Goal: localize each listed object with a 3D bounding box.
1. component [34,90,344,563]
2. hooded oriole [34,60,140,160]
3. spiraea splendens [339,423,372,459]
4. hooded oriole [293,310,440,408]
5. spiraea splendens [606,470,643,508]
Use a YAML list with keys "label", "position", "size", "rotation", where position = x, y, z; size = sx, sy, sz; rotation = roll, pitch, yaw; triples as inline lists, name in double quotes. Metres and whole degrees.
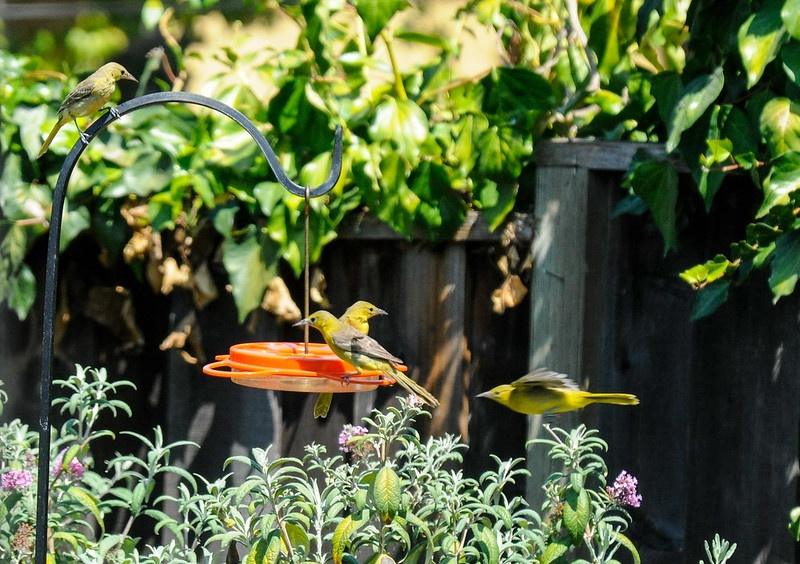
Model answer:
- label: "component"
  position: [-0.989, 0.216, 7.343]
  size: [1.346, 2.186, 0.765]
  rotation: [3, -8, -6]
- label: "hooded oriole"
  position: [-1.518, -0.849, 7.603]
  size: [0.559, 0.296, 0.267]
  rotation: [-14, 5, 16]
- label: "spiraea splendens"
  position: [-0.221, 0.752, 7.577]
  size: [0.151, 0.201, 0.168]
  rotation: [4, -11, -10]
- label: "hooded oriole"
  position: [-0.152, 0.340, 7.404]
  size: [0.653, 0.384, 0.196]
  rotation: [5, 3, 5]
- label: "spiraea splendens"
  position: [1.055, 0.985, 7.580]
  size: [0.148, 0.158, 0.141]
  rotation: [36, -13, -33]
